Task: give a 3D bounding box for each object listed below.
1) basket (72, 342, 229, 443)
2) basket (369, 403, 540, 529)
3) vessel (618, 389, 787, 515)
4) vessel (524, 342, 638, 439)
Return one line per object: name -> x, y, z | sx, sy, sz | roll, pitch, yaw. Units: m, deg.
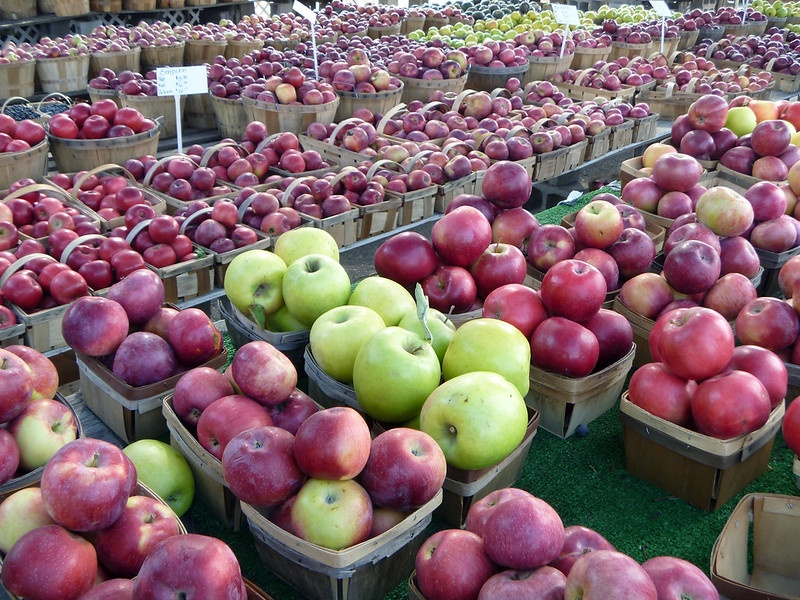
basket -> -0.971, 0.336, 2.186 | 0.349, 0.311, 0.447 | 26, 30, 36
basket -> 0.256, 0.607, 2.000 | 0.353, 0.288, 0.499 | 23, 37, 33
vessel -> 1.106, 0.545, 2.064 | 0.473, 0.311, 0.395 | 11, 18, 36
vessel -> 0.721, 0.369, 2.276 | 0.430, 0.255, 0.335 | -25, 34, -36
